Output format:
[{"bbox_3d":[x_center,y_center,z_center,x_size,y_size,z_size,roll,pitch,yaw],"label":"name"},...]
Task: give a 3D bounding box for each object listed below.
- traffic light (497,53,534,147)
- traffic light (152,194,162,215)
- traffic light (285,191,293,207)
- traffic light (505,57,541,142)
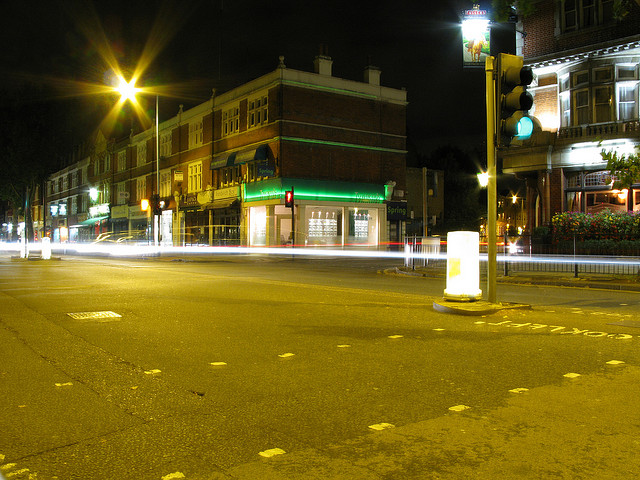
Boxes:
[{"bbox_3d":[3.692,-2.652,12.296,0.649,1.730,0.697,2,5,18],"label":"traffic light"},{"bbox_3d":[-9.241,-2.072,37.127,0.434,1.134,0.949,-1,5,-17],"label":"traffic light"},{"bbox_3d":[-1.787,-2.482,38.736,0.375,0.902,0.498,0,5,5],"label":"traffic light"},{"bbox_3d":[3.793,-2.680,12.306,0.633,1.530,0.556,-1,5,-10],"label":"traffic light"}]
